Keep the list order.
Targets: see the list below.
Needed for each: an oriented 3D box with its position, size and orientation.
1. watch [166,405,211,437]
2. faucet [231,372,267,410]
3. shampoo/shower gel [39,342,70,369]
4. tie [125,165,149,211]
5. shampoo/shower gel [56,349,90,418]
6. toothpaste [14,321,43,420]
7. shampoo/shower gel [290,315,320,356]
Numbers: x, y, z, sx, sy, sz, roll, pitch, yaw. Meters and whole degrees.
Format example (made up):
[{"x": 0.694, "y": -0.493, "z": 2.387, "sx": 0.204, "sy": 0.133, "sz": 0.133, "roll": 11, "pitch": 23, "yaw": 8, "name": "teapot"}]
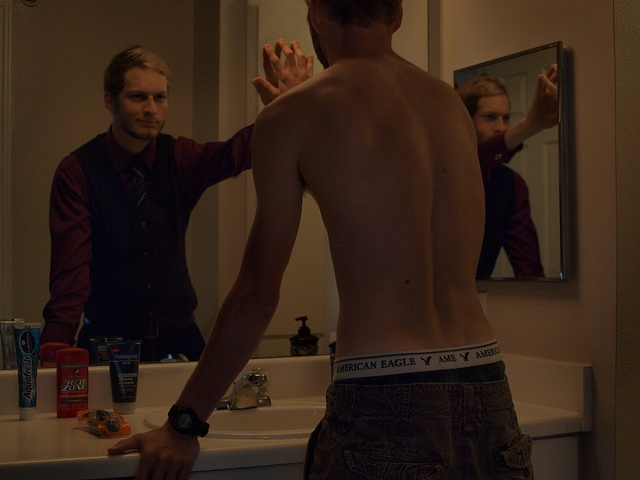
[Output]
[{"x": -0.290, "y": 0.397, "z": 1.489, "sx": 0.077, "sy": 0.073, "sz": 0.081, "roll": 16, "pitch": -1, "yaw": 16, "name": "watch"}, {"x": -0.207, "y": 0.458, "z": 2.044, "sx": 0.074, "sy": 0.131, "sz": 0.034, "roll": 3, "pitch": 7, "yaw": -20, "name": "faucet"}, {"x": -0.775, "y": 0.329, "z": 2.015, "sx": 0.090, "sy": 0.111, "sz": 0.057, "roll": 1, "pitch": -2, "yaw": -12, "name": "shampoo/shower gel"}, {"x": -0.558, "y": -0.175, "z": 2.106, "sx": 0.011, "sy": 0.126, "sz": 0.043, "roll": 19, "pitch": 12, "yaw": -2, "name": "tie"}, {"x": -0.704, "y": 0.406, "z": 1.952, "sx": 0.072, "sy": 0.257, "sz": 0.070, "roll": 2, "pitch": -5, "yaw": -24, "name": "shampoo/shower gel"}, {"x": -0.810, "y": 0.361, "z": 1.897, "sx": 0.047, "sy": 0.242, "sz": 0.090, "roll": 2, "pitch": 4, "yaw": -24, "name": "toothpaste"}, {"x": -0.049, "y": 0.331, "z": 2.339, "sx": 0.094, "sy": 0.158, "sz": 0.104, "roll": -1, "pitch": -4, "yaw": 12, "name": "shampoo/shower gel"}]
